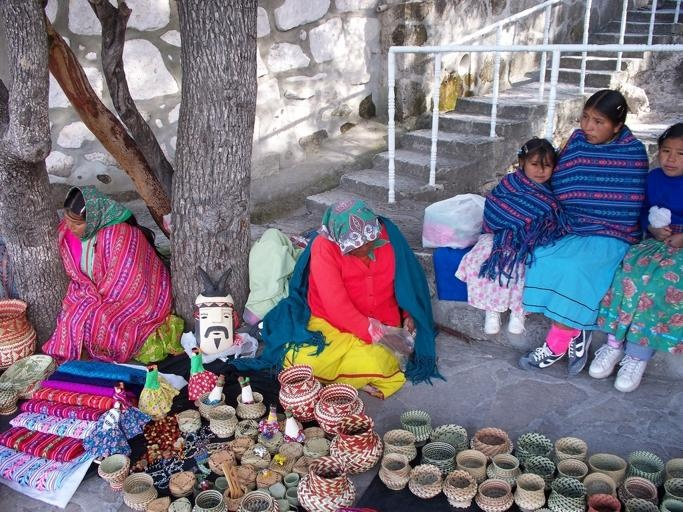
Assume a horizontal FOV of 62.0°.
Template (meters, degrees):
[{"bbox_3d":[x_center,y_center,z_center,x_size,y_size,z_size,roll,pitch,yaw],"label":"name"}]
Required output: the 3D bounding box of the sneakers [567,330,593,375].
[{"bbox_3d":[1.603,0.655,3.950,0.142,0.353,0.126,1,17,-16],"label":"sneakers"}]

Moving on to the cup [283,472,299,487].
[{"bbox_3d":[-0.295,1.282,3.274,0.065,0.062,0.056,0,16,-1],"label":"cup"}]

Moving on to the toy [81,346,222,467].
[{"bbox_3d":[-1.184,0.959,3.675,0.599,0.480,0.704,2,15,9],"label":"toy"}]

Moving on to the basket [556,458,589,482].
[{"bbox_3d":[1.271,1.180,3.174,0.125,0.126,0.124,-4,8,-2],"label":"basket"}]

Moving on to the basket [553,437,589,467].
[{"bbox_3d":[1.295,1.110,3.270,0.149,0.140,0.146,-2,14,-6],"label":"basket"}]

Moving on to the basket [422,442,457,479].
[{"bbox_3d":[0.559,1.162,3.321,0.164,0.159,0.168,13,24,39],"label":"basket"}]

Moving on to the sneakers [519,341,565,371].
[{"bbox_3d":[1.356,0.715,4.026,0.382,0.138,0.154,-17,-21,29],"label":"sneakers"}]

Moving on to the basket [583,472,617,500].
[{"bbox_3d":[1.381,1.234,3.096,0.129,0.108,0.143,-35,33,-23],"label":"basket"}]

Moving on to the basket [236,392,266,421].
[{"bbox_3d":[-0.590,0.987,3.702,0.156,0.111,0.166,-2,7,-8],"label":"basket"}]

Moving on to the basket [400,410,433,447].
[{"bbox_3d":[0.450,1.038,3.498,0.185,0.134,0.182,-6,5,-11],"label":"basket"}]

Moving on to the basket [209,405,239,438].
[{"bbox_3d":[-0.752,1.045,3.680,0.183,0.151,0.183,7,17,19],"label":"basket"}]

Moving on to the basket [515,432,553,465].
[{"bbox_3d":[1.107,1.126,3.327,0.169,0.127,0.153,-2,35,-5],"label":"basket"}]

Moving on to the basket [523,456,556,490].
[{"bbox_3d":[1.103,1.181,3.203,0.162,0.164,0.162,2,31,18],"label":"basket"}]

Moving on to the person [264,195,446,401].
[{"bbox_3d":[0.065,0.256,3.993,1.256,1.304,0.632,-1,16,-2],"label":"person"}]

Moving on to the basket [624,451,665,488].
[{"bbox_3d":[1.664,1.163,3.155,0.176,0.124,0.175,0,18,9],"label":"basket"}]

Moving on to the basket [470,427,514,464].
[{"bbox_3d":[0.873,1.103,3.376,0.176,0.100,0.173,-2,10,-3],"label":"basket"}]

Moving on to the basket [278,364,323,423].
[{"bbox_3d":[-0.274,0.891,3.652,0.224,0.266,0.234,-22,15,0],"label":"basket"}]

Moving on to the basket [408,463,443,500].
[{"bbox_3d":[0.464,1.264,3.193,0.188,0.137,0.141,2,15,8],"label":"basket"}]

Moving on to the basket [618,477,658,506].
[{"bbox_3d":[1.539,1.224,2.993,0.150,0.096,0.146,-10,36,-6],"label":"basket"}]

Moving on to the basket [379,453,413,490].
[{"bbox_3d":[0.301,1.220,3.254,0.169,0.141,0.178,-3,15,-1],"label":"basket"}]

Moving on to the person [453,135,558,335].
[{"bbox_3d":[1.229,-0.177,4.101,0.805,1.329,0.794,8,3,10],"label":"person"}]

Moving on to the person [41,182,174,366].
[{"bbox_3d":[-1.788,0.123,4.389,1.009,1.286,0.678,-4,16,-12],"label":"person"}]

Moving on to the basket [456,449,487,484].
[{"bbox_3d":[0.734,1.185,3.235,0.155,0.114,0.154,0,26,14],"label":"basket"}]

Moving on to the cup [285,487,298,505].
[{"bbox_3d":[-0.280,1.335,3.177,0.077,0.054,0.049,-19,32,-42],"label":"cup"}]

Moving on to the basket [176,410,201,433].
[{"bbox_3d":[-0.987,1.072,3.691,0.143,0.087,0.158,-8,17,-27],"label":"basket"}]

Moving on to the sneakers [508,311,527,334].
[{"bbox_3d":[1.237,0.477,4.084,0.072,0.084,0.215,3,20,18],"label":"sneakers"}]

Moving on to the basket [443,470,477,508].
[{"bbox_3d":[0.647,1.266,3.175,0.183,0.180,0.174,9,27,31],"label":"basket"}]

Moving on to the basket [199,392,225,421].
[{"bbox_3d":[-0.864,0.987,3.760,0.162,0.116,0.160,0,1,1],"label":"basket"}]

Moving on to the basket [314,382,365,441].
[{"bbox_3d":[-0.028,0.930,3.524,0.280,0.240,0.298,-1,23,1],"label":"basket"}]

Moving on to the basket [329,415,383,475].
[{"bbox_3d":[0.064,1.096,3.420,0.325,0.275,0.314,-14,36,-16],"label":"basket"}]

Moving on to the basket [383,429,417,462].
[{"bbox_3d":[0.341,1.113,3.392,0.171,0.122,0.174,9,11,37],"label":"basket"}]
